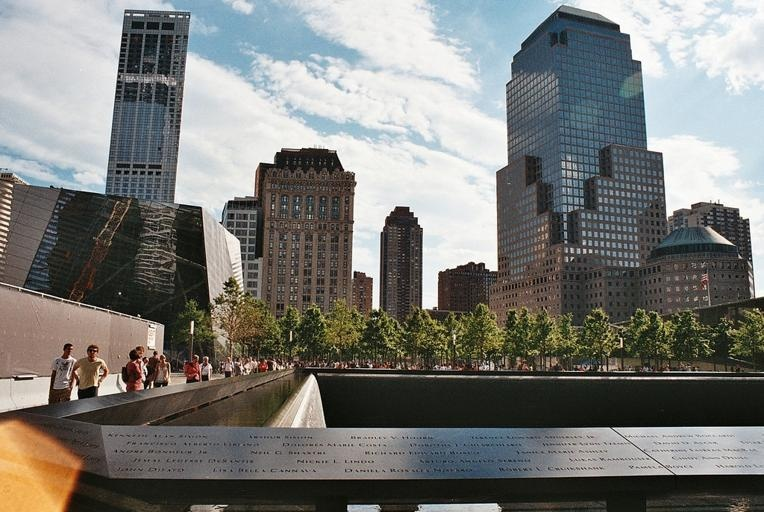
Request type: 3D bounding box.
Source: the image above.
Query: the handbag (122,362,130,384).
[{"bbox_3d":[-16.285,7.466,49.780,0.378,1.147,1.768,6,-12,-17],"label":"handbag"}]
